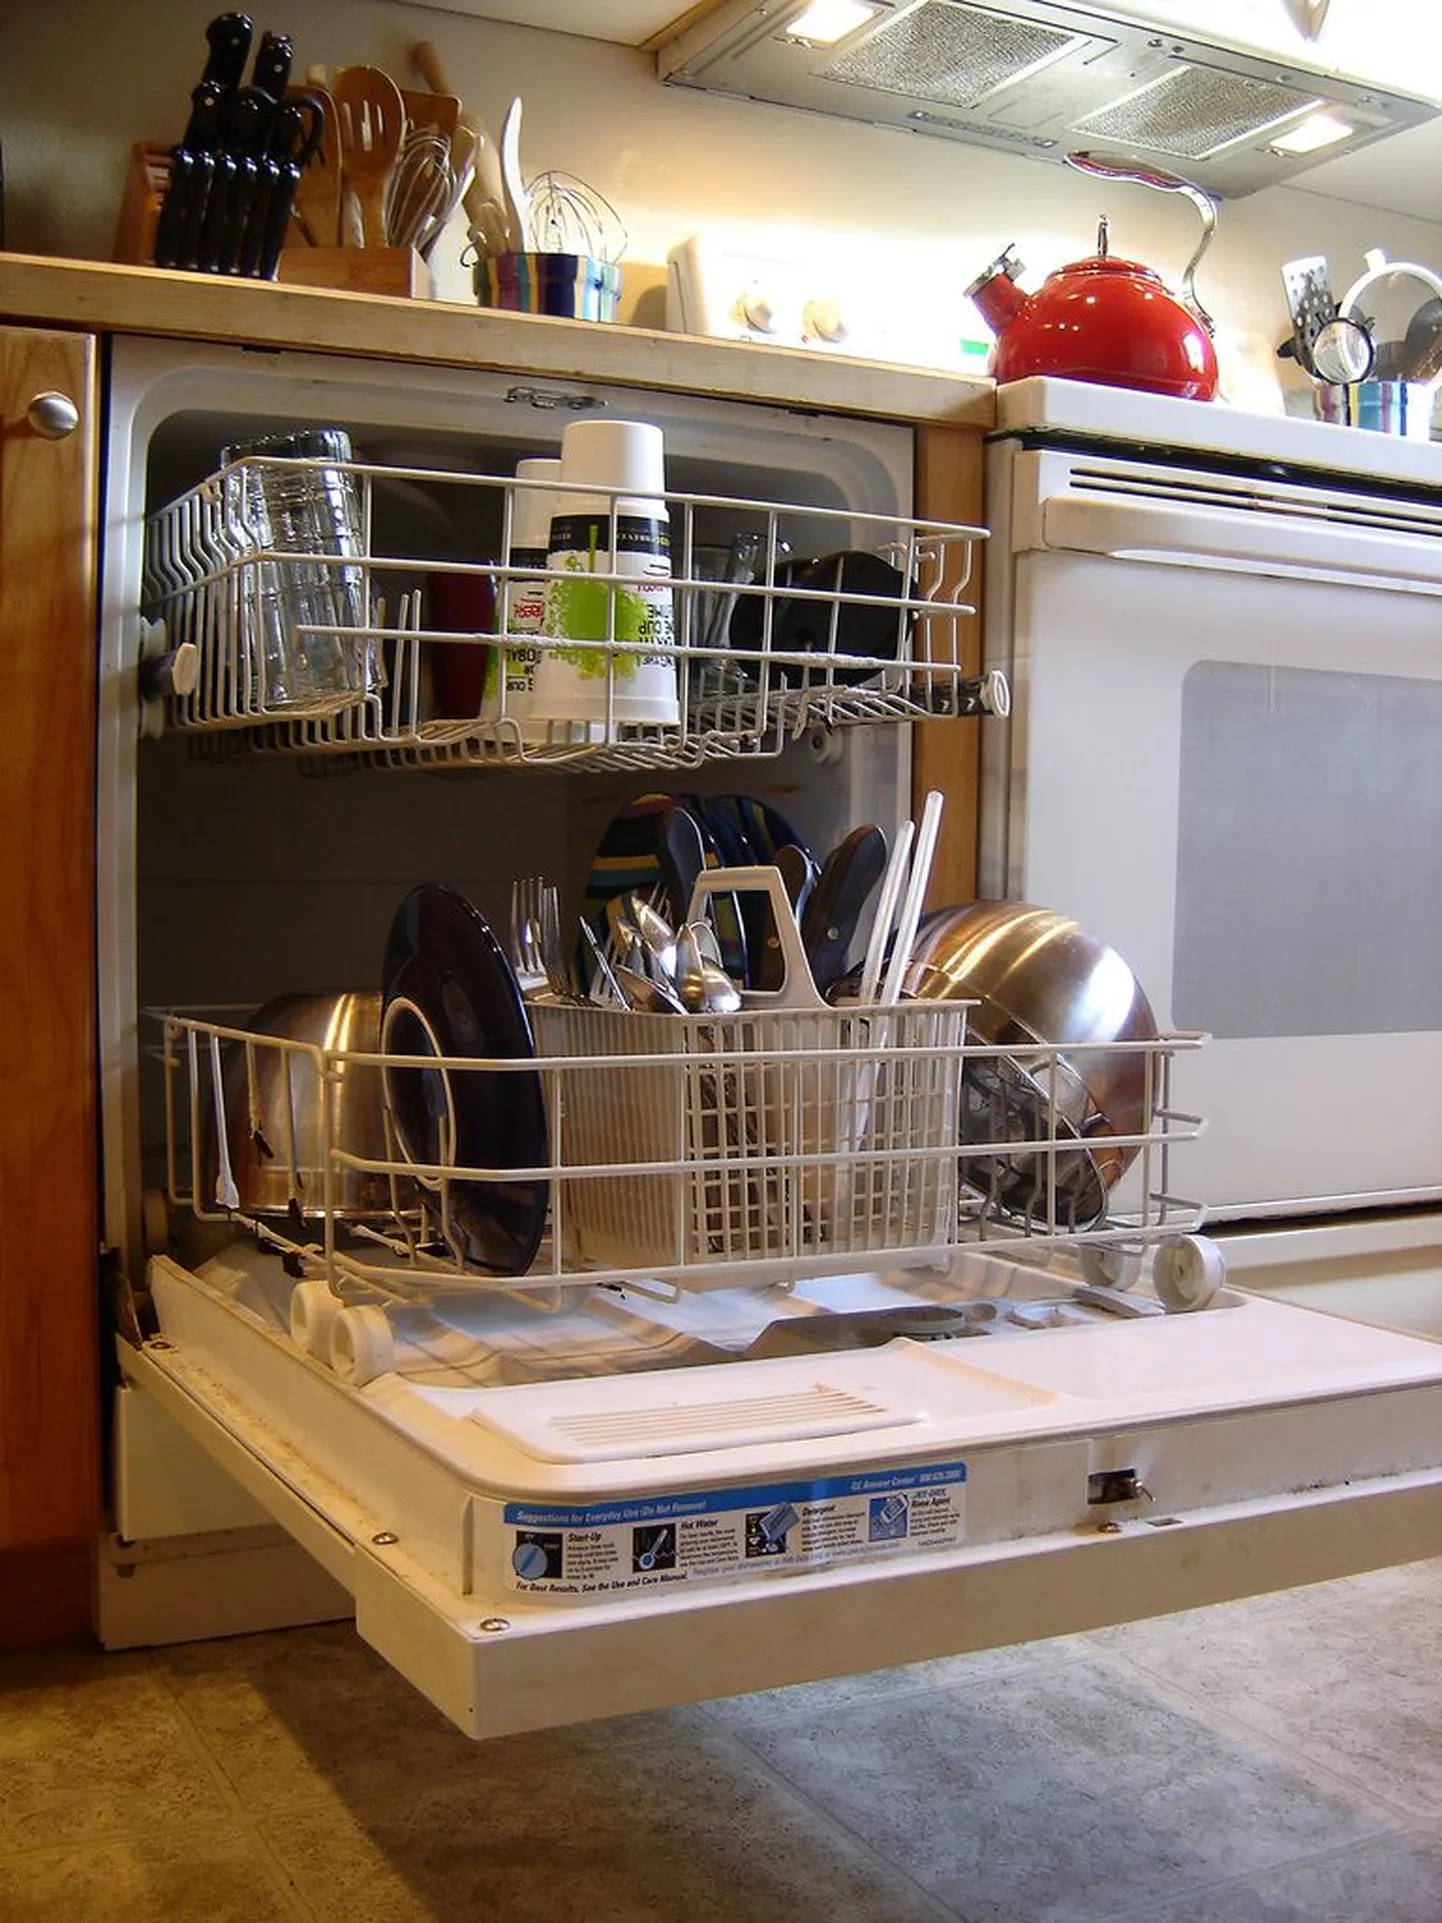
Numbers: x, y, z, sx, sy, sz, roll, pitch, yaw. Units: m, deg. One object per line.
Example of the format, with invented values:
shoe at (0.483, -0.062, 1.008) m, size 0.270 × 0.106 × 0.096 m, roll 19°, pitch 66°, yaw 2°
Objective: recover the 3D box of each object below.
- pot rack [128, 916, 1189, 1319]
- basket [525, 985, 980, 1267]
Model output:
pot rack at (0.022, 0.080, 0.745) m, size 0.319 × 0.098 × 0.329 m, roll -3°, pitch 4°, yaw -26°
basket at (0.014, 0.078, 0.713) m, size 0.193 × 0.126 × 0.255 m, roll 2°, pitch -4°, yaw -8°
